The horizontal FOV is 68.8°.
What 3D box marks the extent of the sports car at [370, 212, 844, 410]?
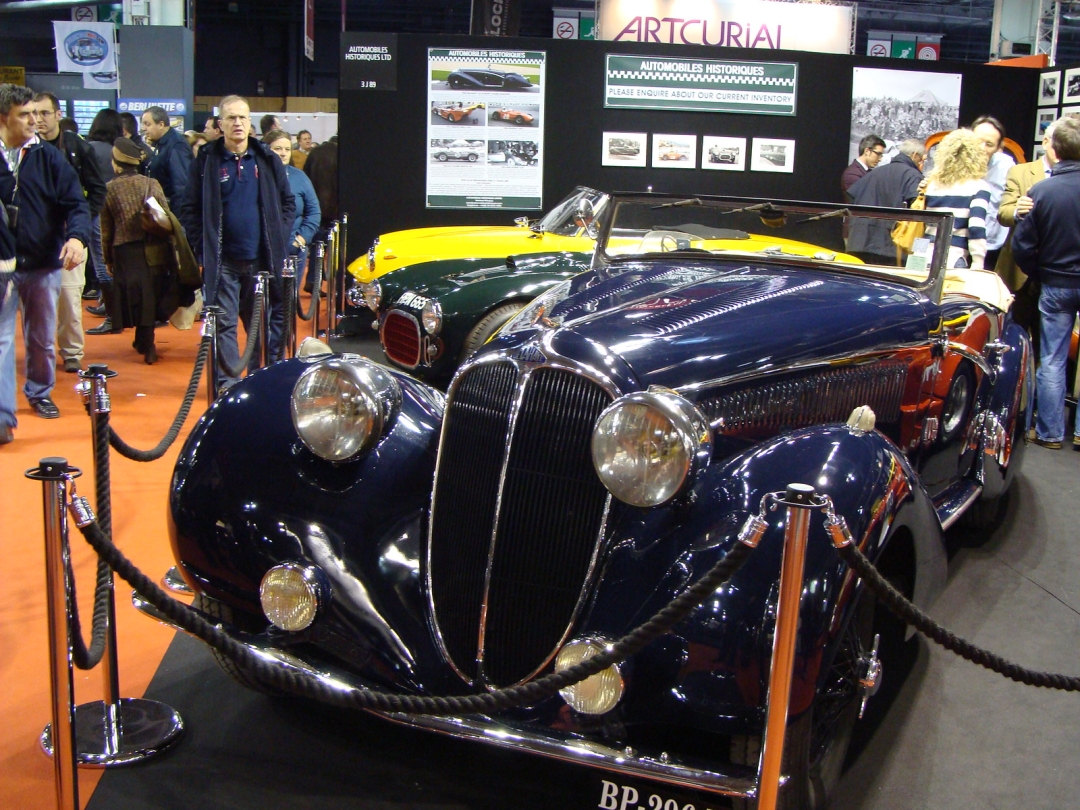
[{"bbox_3d":[0.301,-0.834,5.440,2.791,1.096,1.773,0,7,-3],"label":"sports car"}]
